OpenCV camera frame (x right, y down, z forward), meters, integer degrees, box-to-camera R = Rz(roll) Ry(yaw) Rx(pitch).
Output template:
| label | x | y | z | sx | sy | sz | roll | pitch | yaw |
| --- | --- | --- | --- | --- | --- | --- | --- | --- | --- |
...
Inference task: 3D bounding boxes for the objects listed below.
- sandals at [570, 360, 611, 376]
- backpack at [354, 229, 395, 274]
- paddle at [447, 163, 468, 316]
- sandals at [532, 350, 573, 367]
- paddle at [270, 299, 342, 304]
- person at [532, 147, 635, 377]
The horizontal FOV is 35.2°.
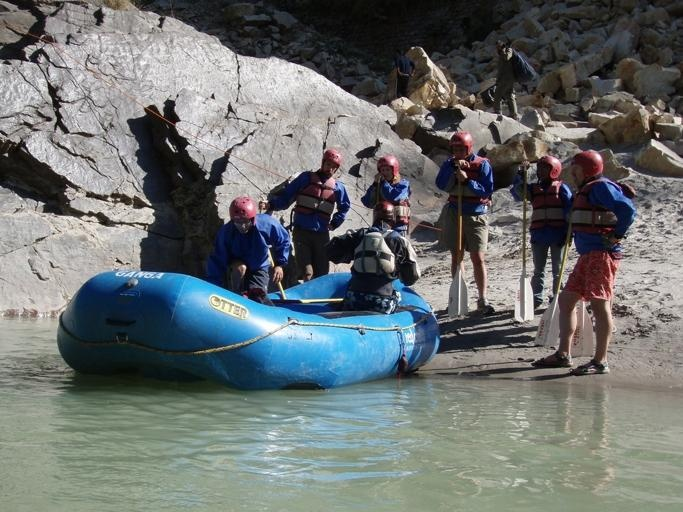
| label | x | y | z | sx | sy | sz | roll | pitch | yaw |
| --- | --- | --- | --- | --- | --- | --- | --- | --- | --- |
| sandals | 3.093 | 1.363 | 13.204 | 0.401 | 0.125 | 0.196 | 1 | -7 | -2 |
| backpack | 0.423 | -0.042 | 13.280 | 0.572 | 0.449 | 0.352 | 1 | -17 | 18 |
| paddle | 1.626 | -0.117 | 14.582 | 0.259 | 1.861 | 0.373 | 3 | -3 | 6 |
| sandals | 2.654 | 1.285 | 13.376 | 0.438 | 0.137 | 0.207 | 0 | -5 | 19 |
| paddle | -0.477 | 0.584 | 13.899 | 0.663 | 0.061 | 0.051 | -2 | 4 | -19 |
| person | 3.078 | 0.069 | 13.253 | 0.981 | 2.775 | 0.656 | 2 | -3 | 10 |
